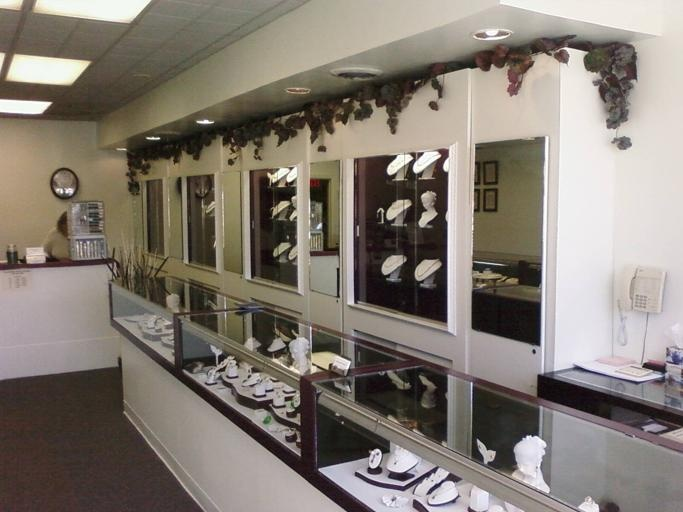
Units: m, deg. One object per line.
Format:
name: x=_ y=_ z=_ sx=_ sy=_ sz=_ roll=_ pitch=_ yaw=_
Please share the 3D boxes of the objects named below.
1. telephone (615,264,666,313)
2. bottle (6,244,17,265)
telephone: x=1.854 y=0.201 z=3.299 sx=0.130 sy=0.337 sz=0.297 roll=6 pitch=-3 yaw=-43
bottle: x=-4.080 y=-0.028 z=6.625 sx=0.101 sy=0.211 sz=0.243 roll=-6 pitch=9 yaw=-34
